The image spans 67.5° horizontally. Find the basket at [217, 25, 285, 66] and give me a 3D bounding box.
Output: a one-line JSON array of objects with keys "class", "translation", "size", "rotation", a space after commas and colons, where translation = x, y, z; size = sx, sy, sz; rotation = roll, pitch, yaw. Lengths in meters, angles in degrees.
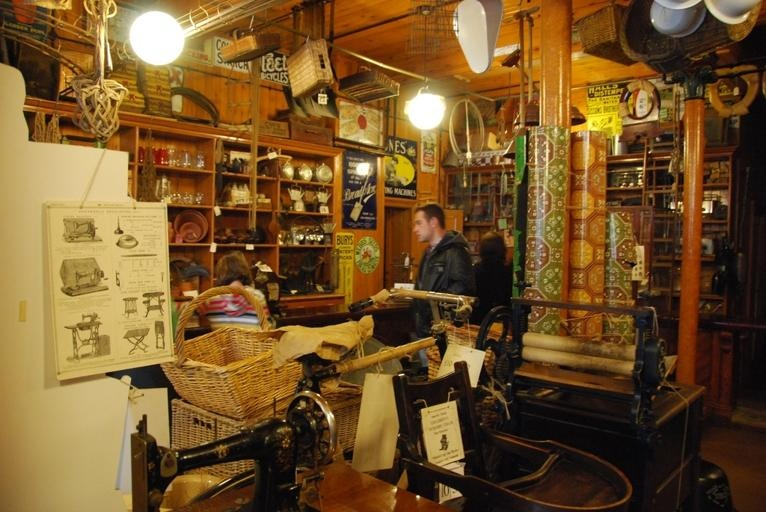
[{"class": "basket", "translation": [-1.197, -1.908, 5.113], "size": [0.401, 0.274, 0.465], "rotation": [-2, 2, -35]}]

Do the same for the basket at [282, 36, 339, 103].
[{"class": "basket", "translation": [-0.678, -1.724, 5.230], "size": [0.267, 0.452, 0.471], "rotation": [-3, 3, -42]}]

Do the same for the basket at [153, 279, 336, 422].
[{"class": "basket", "translation": [-0.643, 0.473, 2.669], "size": [0.622, 0.601, 0.616], "rotation": [-8, 10, -42]}]

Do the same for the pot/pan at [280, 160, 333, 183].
[{"class": "pot/pan", "translation": [-0.973, -1.100, 7.571], "size": [0.396, 0.158, 0.397], "rotation": [1, -3, -13]}]

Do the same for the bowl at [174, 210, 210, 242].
[{"class": "bowl", "translation": [-2.130, -0.336, 6.361], "size": [0.370, 0.354, 0.163], "rotation": [-1, 2, -20]}]
